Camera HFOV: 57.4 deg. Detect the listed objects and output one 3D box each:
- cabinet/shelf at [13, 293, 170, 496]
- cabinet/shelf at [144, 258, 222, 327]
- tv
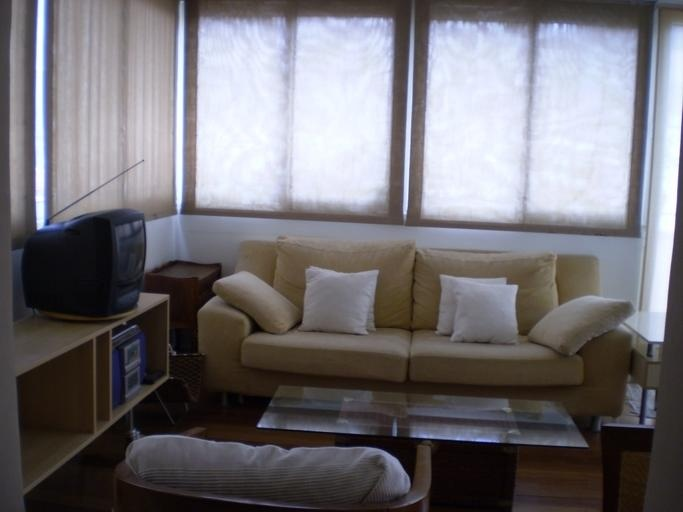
[{"bbox_3d":[-1.343,0.595,3.152,0.427,0.701,1.153,6,4,12],"label":"cabinet/shelf"},{"bbox_3d":[-1.196,0.282,4.615,0.393,0.523,0.683,3,17,-3],"label":"cabinet/shelf"},{"bbox_3d":[-1.300,0.035,3.273,0.509,0.521,0.526,2,4,-3],"label":"tv"}]
